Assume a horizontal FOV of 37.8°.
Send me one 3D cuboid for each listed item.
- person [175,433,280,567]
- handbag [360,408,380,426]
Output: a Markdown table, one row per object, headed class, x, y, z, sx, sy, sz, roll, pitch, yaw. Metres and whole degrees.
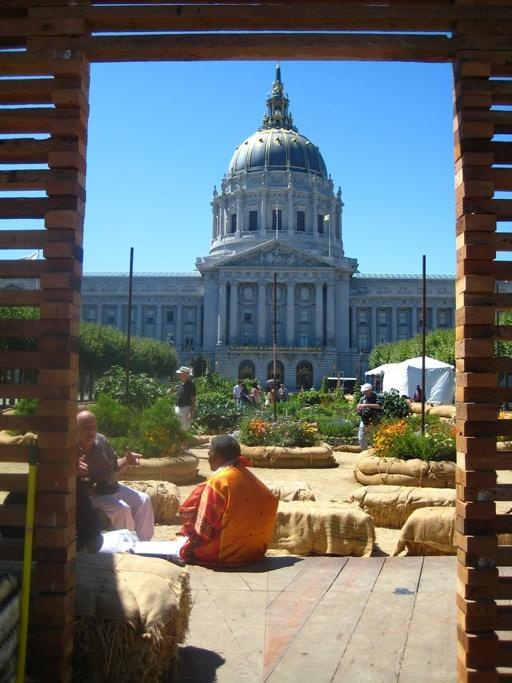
| class | x | y | z | sx | sy | sz | roll | pitch | yaw |
| --- | --- | --- | --- | --- | --- | --- | --- | --- | --- |
| person | -0.188 | 1.307 | 6.466 | 1.080 | 1.255 | 0.917 | 6 | -9 | -39 |
| handbag | 2.162 | 1.406 | 14.277 | 0.387 | 0.531 | 0.297 | 0 | -4 | -1 |
